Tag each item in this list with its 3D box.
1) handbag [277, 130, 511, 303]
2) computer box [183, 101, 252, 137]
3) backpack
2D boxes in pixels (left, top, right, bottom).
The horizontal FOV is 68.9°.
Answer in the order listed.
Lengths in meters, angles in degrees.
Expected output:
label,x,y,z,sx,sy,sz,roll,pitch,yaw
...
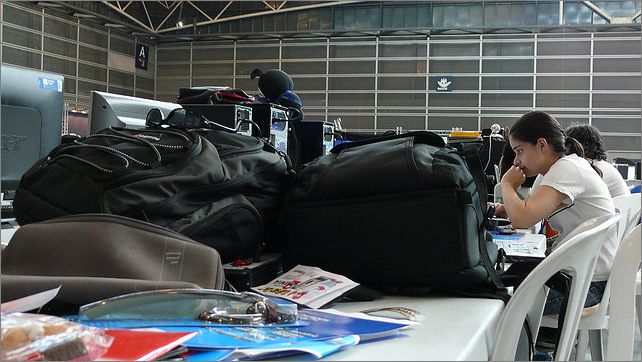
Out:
label,x,y,z,sx,sy,sz,roll,pitch,yaw
handbag,0.231,0.081,1.456,0.595,0.348,0.553,1,-2,6
computer box,-0.673,-0.386,2.979,0.334,0.132,0.174,-6,-8,4
backpack,-0.515,0.080,1.445,0.613,0.262,0.513,1,2,19
